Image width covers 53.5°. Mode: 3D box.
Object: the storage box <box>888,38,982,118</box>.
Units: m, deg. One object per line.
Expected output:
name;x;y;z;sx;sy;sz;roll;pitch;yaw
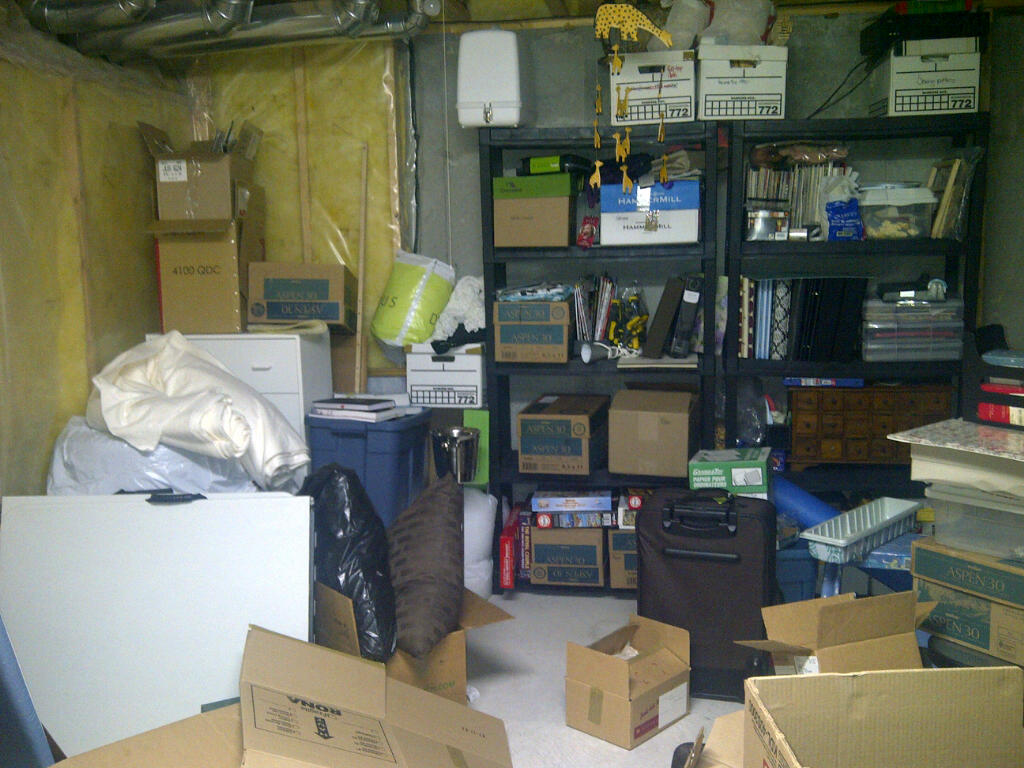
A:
storage box;1.946;-1.375;4.729;0.396;0.390;0.245;3;-13;10

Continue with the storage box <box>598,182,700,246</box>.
storage box;0.688;-0.850;4.965;0.466;0.313;0.260;1;13;19

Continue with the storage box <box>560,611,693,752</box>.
storage box;0.472;1.177;4.070;0.339;0.358;0.452;6;8;44

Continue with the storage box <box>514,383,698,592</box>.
storage box;0.404;0.364;5.318;1.142;1.199;0.869;0;6;8

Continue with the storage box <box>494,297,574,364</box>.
storage box;0.133;-0.274;5.150;0.515;0.301;0.507;-6;9;-44

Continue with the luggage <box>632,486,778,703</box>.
luggage;0.810;0.875;4.287;0.573;0.932;0.370;3;18;22

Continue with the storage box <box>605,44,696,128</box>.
storage box;0.659;-1.391;4.788;0.542;0.434;0.303;0;7;10

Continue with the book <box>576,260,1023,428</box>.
book;1.625;-0.200;4.784;1.198;0.624;0.272;2;10;21

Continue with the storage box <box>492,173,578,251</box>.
storage box;0.092;-0.842;4.915;0.348;0.332;0.355;1;5;8

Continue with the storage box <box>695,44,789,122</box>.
storage box;1.205;-1.500;4.846;0.468;0.356;0.475;11;32;37

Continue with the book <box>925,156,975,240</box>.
book;2.023;-0.868;4.710;0.094;0.336;0.239;3;23;-8

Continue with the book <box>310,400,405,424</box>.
book;-0.751;0.118;4.833;0.449;0.087;0.228;-1;9;3

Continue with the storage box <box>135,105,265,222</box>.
storage box;-1.531;-1.061;5.168;0.638;0.505;0.494;-1;8;1

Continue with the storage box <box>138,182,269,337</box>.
storage box;-1.591;-0.567;5.219;0.538;0.639;0.412;2;17;-2

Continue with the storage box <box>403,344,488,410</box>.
storage box;-0.422;-0.019;5.323;0.534;0.318;0.552;-2;-4;11
